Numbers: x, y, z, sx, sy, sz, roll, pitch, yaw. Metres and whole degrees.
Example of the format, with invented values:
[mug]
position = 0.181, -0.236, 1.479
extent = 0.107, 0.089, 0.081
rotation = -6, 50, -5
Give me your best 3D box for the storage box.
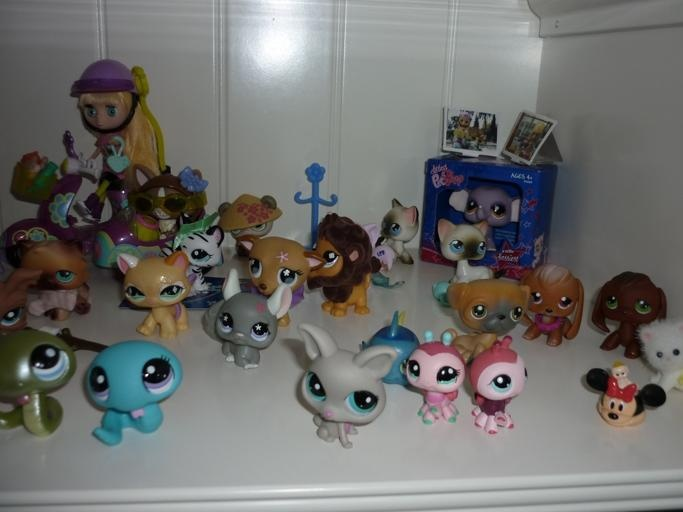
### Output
[storage box]
position = 0.708, -0.207, 2.673
extent = 0.529, 0.536, 0.205
rotation = 9, 15, 33
